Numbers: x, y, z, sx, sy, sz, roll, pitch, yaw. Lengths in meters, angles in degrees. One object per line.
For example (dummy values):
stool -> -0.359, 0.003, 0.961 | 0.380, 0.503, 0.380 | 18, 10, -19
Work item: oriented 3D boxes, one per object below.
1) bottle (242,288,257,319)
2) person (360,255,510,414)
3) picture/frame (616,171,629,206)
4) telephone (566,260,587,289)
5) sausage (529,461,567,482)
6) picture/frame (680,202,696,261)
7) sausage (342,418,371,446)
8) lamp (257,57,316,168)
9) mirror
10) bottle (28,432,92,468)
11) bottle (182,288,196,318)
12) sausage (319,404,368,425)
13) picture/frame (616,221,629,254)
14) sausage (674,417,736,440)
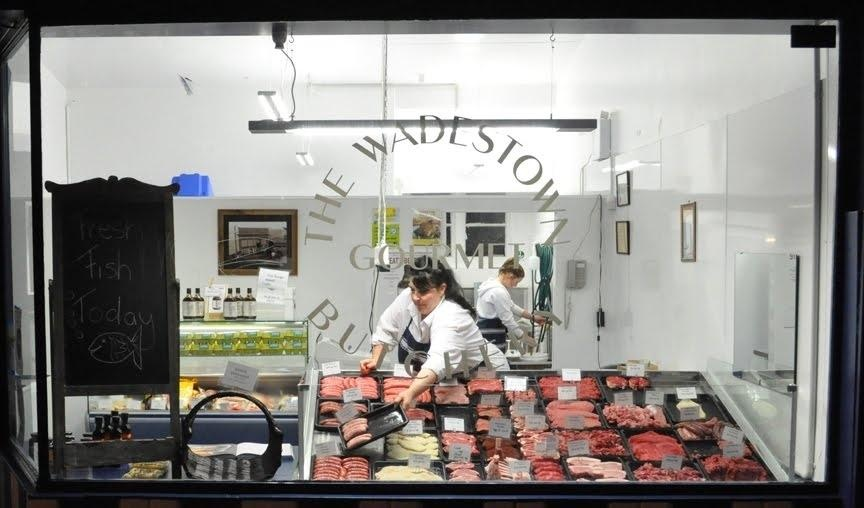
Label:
bottle -> -1.143, 0.313, 5.067 | 0.082, 0.192, 0.041 | 0, -1, -5
person -> 0.036, 0.450, 5.437 | 1.083, 1.079, 0.687 | -8, 16, -34
picture/frame -> 1.226, -0.414, 5.156 | 0.111, 0.230, 0.040 | 0, -1, -25
telephone -> 0.913, 0.133, 5.064 | 0.122, 0.180, 0.033 | 0, -1, -13
sausage -> 0.721, 1.331, 4.956 | 0.206, 0.101, 0.195 | 0, -1, 7
picture/frame -> 1.640, -0.116, 5.152 | 0.115, 0.353, 0.020 | -5, 7, -21
sausage -> -0.478, 1.111, 5.062 | 0.167, 0.135, 0.064 | -15, -45, -3
lamp -> -0.903, -0.903, 5.029 | 0.334, 0.716, 0.106 | 0, -1, -12
mirror -> 2.071, 0.392, 5.005 | 0.432, 0.815, 0.031 | 3, -7, -8
bottle -> -2.221, 1.201, 4.815 | 0.274, 0.118, 0.269 | -1, -11, 0
bottle -> -1.514, 0.310, 5.018 | 0.080, 0.190, 0.037 | 0, -1, -4
sausage -> -0.567, 1.009, 5.044 | 0.248, 0.145, 0.053 | 1, 6, 3
picture/frame -> 1.225, -0.106, 5.133 | 0.022, 0.207, 0.106 | -4, 3, -29
sausage -> 1.716, 1.107, 5.104 | 0.319, 0.130, 0.059 | 0, -1, -1
